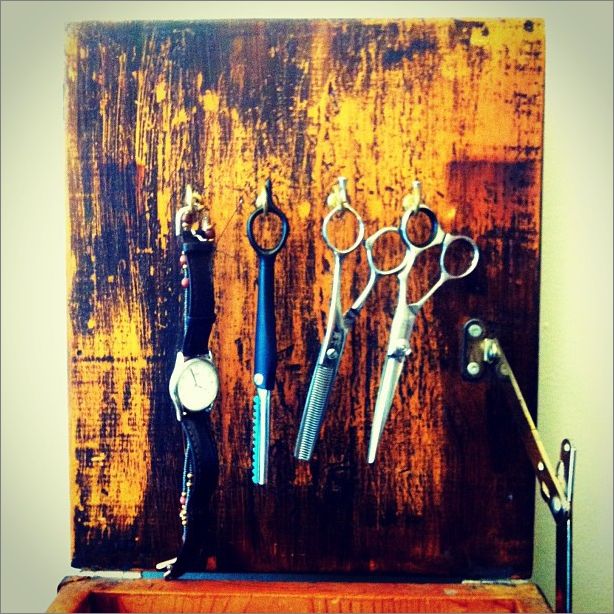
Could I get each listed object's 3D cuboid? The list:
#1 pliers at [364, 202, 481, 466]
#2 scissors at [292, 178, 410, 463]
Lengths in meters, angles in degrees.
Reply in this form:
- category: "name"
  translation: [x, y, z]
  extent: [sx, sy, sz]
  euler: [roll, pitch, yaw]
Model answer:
- category: "pliers"
  translation: [0.137, 0.003, 1.861]
  extent: [0.098, 0.369, 0.037]
  euler: [10, -3, -4]
- category: "scissors"
  translation: [0.036, 0.046, 1.856]
  extent: [0.108, 0.358, 0.166]
  euler: [7, 21, 9]
